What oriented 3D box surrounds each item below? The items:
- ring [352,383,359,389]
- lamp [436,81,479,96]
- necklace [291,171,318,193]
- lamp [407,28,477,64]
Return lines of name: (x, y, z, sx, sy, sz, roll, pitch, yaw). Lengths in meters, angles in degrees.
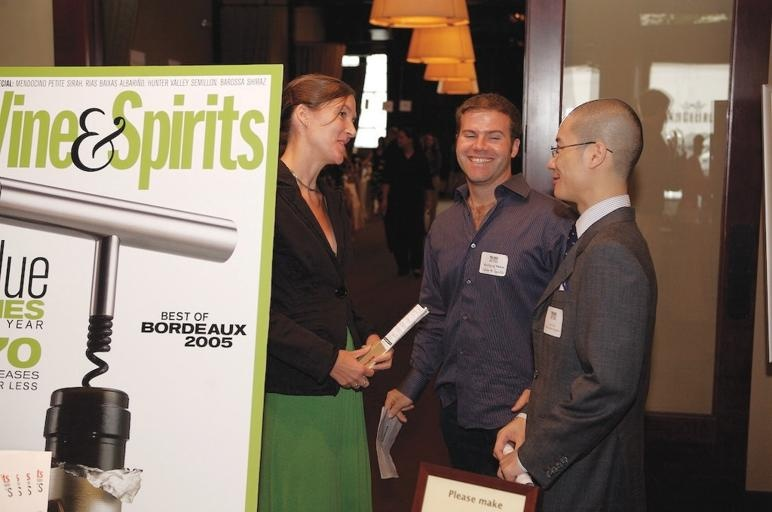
ring: (-0.132, 0.541, 2.884, 0.021, 0.021, 0.006, 0, 18, -10)
lamp: (0.472, -1.153, 4.685, 0.154, 0.071, 0.156, 1, 3, 21)
necklace: (-0.357, -0.314, 2.999, 0.055, 0.094, 0.055, -43, 8, 27)
lamp: (0.327, -1.257, 4.241, 0.265, 0.183, 0.269, 7, 9, 40)
